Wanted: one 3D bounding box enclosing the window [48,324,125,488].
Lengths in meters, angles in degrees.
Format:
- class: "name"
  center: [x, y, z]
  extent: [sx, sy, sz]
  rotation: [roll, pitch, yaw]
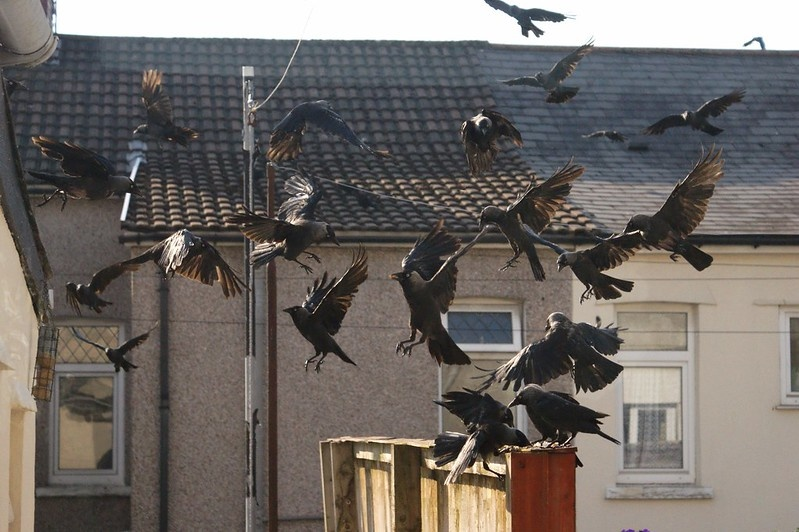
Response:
- class: "window"
  center: [-4.567, 2.287, 36.910]
  extent: [1.117, 0.061, 1.971]
  rotation: [1, -57, -7]
